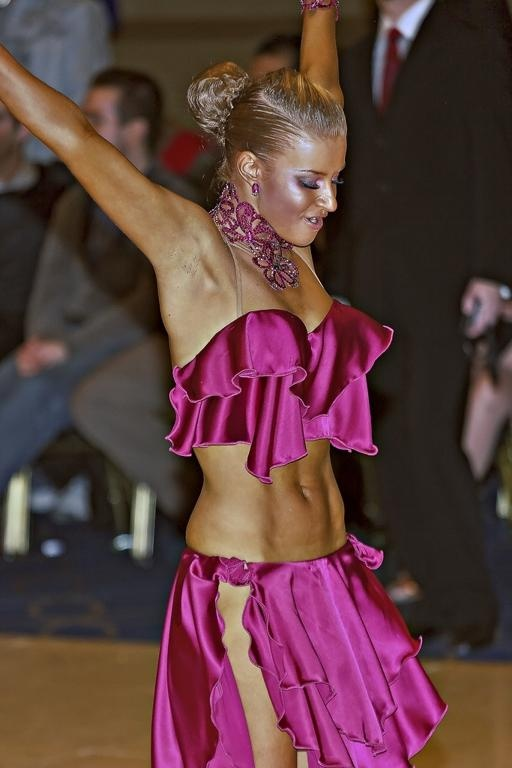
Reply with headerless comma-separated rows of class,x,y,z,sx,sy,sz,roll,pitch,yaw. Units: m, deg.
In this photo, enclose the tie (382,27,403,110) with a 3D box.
tie,0.448,-1.064,2.523,0.055,0.025,0.207,8,104,17
